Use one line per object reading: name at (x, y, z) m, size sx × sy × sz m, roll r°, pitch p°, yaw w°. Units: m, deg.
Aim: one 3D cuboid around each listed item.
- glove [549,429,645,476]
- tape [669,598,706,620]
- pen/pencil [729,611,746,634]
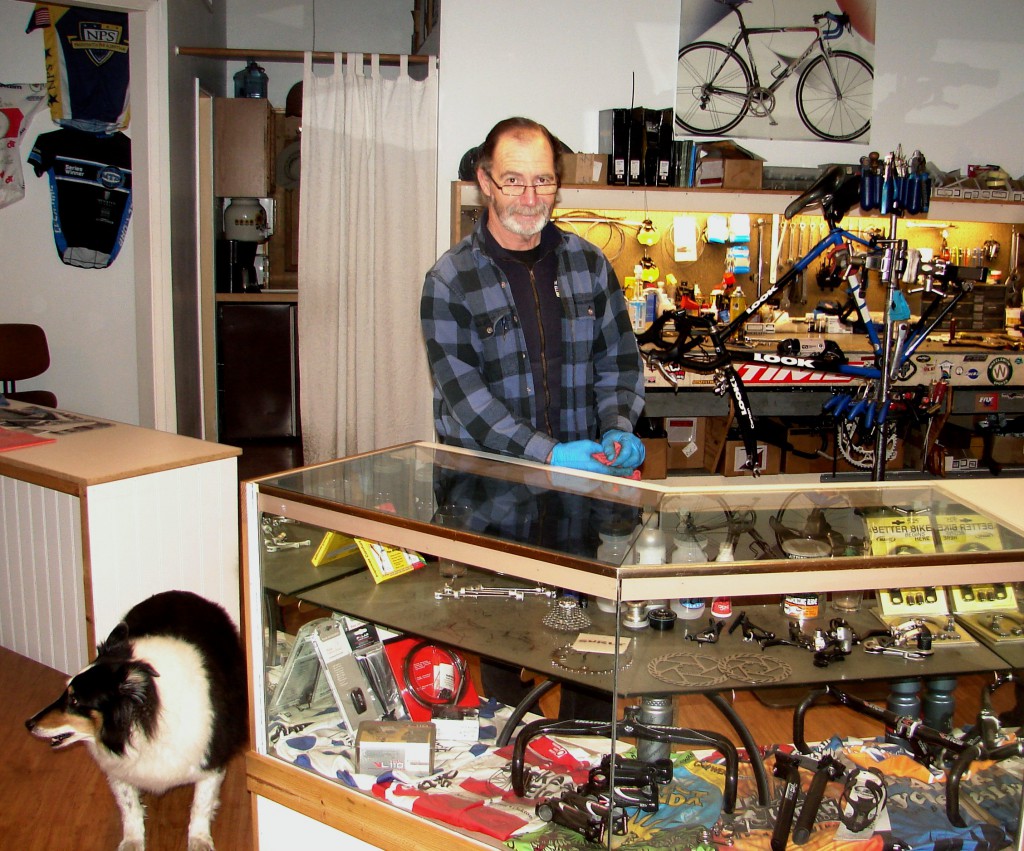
glove at (0.227, 0.063, 2.179) m, size 0.208 × 0.075 × 0.117 m, roll -3°, pitch 10°, yaw -36°
tape at (0.376, 0.391, 1.790) m, size 0.046 × 0.027 × 0.056 m, roll 0°, pitch 5°, yaw 3°
pen/pencil at (0.490, 0.429, 1.831) m, size 0.014 × 0.058 × 0.018 m, roll 41°, pitch 0°, yaw -3°
